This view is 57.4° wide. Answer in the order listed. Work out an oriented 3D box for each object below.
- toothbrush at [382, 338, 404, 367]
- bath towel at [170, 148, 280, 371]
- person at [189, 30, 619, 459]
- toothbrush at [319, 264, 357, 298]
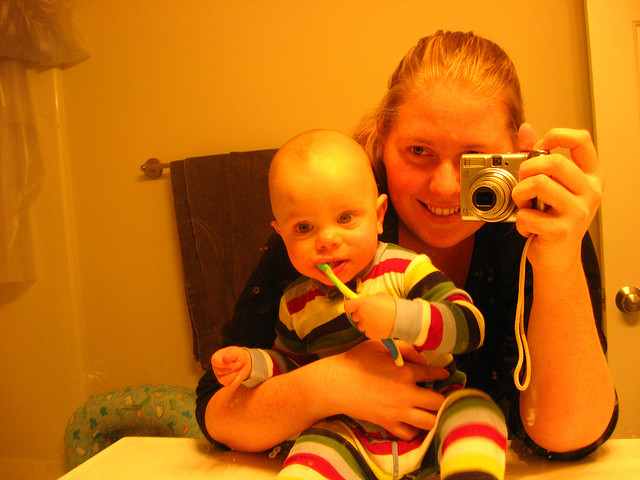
[{"bbox_3d":[0.133,0.194,1.028,0.018,0.082,0.010,-6,38,36],"label":"toothbrush"},{"bbox_3d":[-0.229,0.049,1.493,0.269,0.530,0.127,-5,12,-4],"label":"bath towel"},{"bbox_3d":[0.198,0.015,1.129,0.671,0.787,0.676,5,5,33],"label":"person"},{"bbox_3d":[0.037,0.073,1.074,0.017,0.064,0.017,-28,-19,-26],"label":"toothbrush"}]
